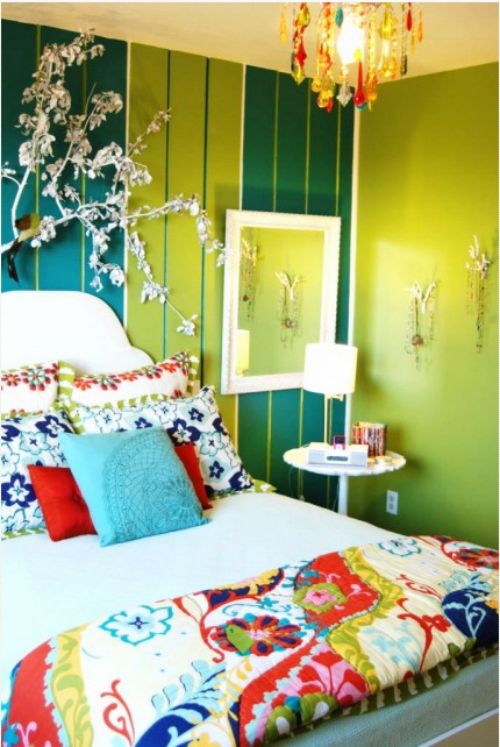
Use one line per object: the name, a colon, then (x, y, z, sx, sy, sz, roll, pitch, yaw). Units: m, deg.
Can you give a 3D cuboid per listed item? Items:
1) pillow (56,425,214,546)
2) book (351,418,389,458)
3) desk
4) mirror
pillow: (-0.387, 0.341, 1.865, 0.390, 0.360, 0.117, -12, -20, -48)
book: (0.655, 0.317, 3.096, 0.247, 0.246, 0.145, 3, 7, 27)
desk: (0.453, 0.473, 2.979, 0.468, 0.509, 0.488, -3, 8, -33)
mirror: (0.136, -0.402, 3.166, 1.055, 1.376, 0.099, -5, 10, -37)
